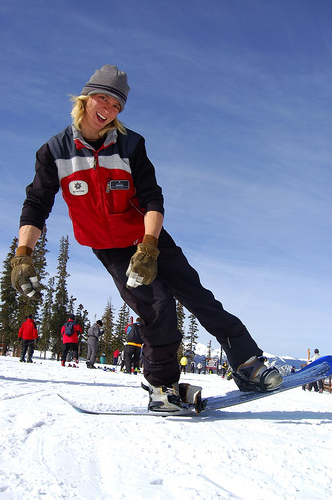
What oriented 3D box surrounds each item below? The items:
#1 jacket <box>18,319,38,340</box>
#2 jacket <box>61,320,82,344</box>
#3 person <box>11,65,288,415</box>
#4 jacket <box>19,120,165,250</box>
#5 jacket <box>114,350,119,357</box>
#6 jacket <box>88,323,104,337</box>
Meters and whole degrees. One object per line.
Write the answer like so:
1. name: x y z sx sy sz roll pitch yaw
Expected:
1. jacket: -5.410 3.144 13.958 0.625 0.811 0.417 -2 -16 33
2. jacket: -3.693 3.163 14.125 1.022 1.095 0.875 -2 -7 -9
3. person: -0.311 0.054 2.662 1.570 2.650 1.036 -20 2 -27
4. jacket: -0.535 -0.484 2.595 1.030 0.868 0.576 -5 11 -11
5. jacket: -3.088 6.397 21.834 0.401 0.508 0.541 2 -15 -8
6. jacket: -2.791 3.152 13.963 0.504 0.514 0.524 9 -13 -14
